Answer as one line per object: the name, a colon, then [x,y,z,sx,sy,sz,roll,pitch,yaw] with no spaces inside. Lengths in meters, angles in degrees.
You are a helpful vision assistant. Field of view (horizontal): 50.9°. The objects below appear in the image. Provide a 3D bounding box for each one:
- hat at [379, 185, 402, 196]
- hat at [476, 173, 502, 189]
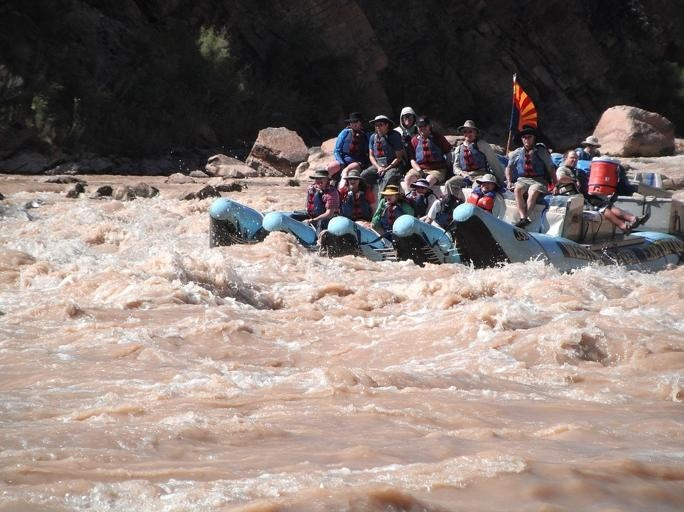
hat: [0.819,-1.060,11.597,0.412,0.104,0.361,0,1,2]
hat: [2.354,-1.188,11.478,0.357,0.117,0.382,5,-10,8]
